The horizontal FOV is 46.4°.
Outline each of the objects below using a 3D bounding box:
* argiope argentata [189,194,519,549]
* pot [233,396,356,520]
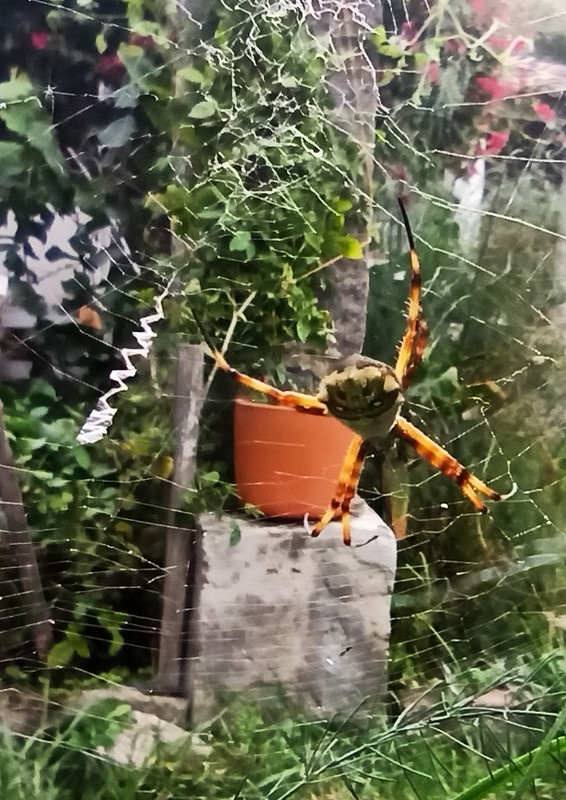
[{"bbox_3d":[0.106,0.017,0.744,0.116,0.405,0.280,8,47,50],"label":"argiope argentata"},{"bbox_3d":[0.005,0.075,0.917,0.191,0.157,0.129,5,89,3],"label":"pot"}]
